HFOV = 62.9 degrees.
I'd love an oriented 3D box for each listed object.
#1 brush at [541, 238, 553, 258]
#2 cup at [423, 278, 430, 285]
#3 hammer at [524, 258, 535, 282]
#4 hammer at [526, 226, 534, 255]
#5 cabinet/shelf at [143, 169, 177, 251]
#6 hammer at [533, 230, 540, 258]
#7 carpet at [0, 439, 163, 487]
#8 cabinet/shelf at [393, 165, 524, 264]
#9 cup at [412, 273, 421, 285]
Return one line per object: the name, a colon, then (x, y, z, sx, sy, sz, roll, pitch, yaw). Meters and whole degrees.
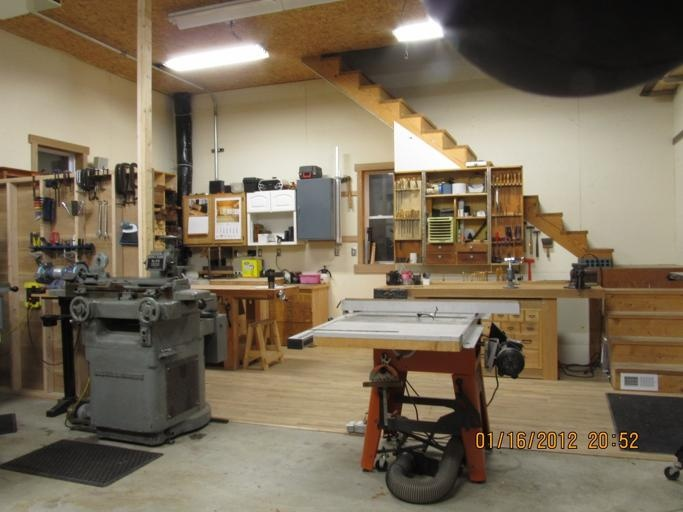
brush: (2.660, -0.106, 7.212, 0.138, 0.261, 0.078, 0, 6, 20)
cup: (1.118, 0.339, 7.410, 0.084, 0.080, 0.081, -1, 4, 0)
hammer: (2.422, 0.172, 7.207, 0.123, 0.292, 0.350, 0, 5, 20)
hammer: (2.458, -0.197, 7.312, 0.101, 0.383, 0.031, 0, 5, 16)
cabinet/shelf: (-2.410, -0.673, 7.644, 0.308, 1.059, 3.023, -3, 5, -16)
hammer: (2.540, -0.153, 7.294, 0.082, 0.365, 0.029, -1, 5, 7)
carpet: (-2.019, 1.584, 4.328, 1.097, 0.047, 0.554, 0, 5, 17)
cabinet/shelf: (1.591, -0.575, 7.347, 1.336, 1.019, 0.429, -1, -2, 17)
cup: (0.996, 0.301, 7.394, 0.113, 0.151, 0.156, 0, 0, 18)
